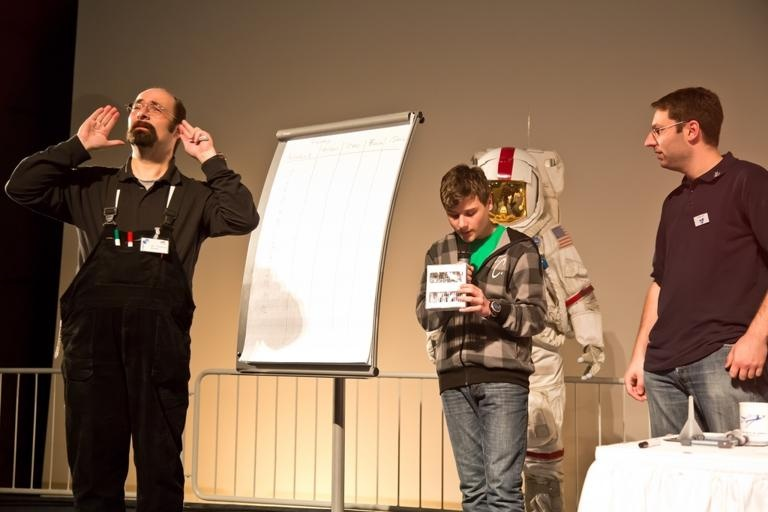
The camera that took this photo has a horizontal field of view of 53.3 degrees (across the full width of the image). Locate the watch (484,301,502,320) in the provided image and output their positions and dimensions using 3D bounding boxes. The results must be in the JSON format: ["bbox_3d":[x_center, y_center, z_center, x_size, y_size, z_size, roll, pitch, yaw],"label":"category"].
[{"bbox_3d":[0.633,0.307,4.382,0.067,0.101,0.097,4,-18,-10],"label":"watch"}]

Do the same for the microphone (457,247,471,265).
[{"bbox_3d":[0.480,0.006,4.498,0.084,0.107,0.083,-1,3,-12],"label":"microphone"}]
